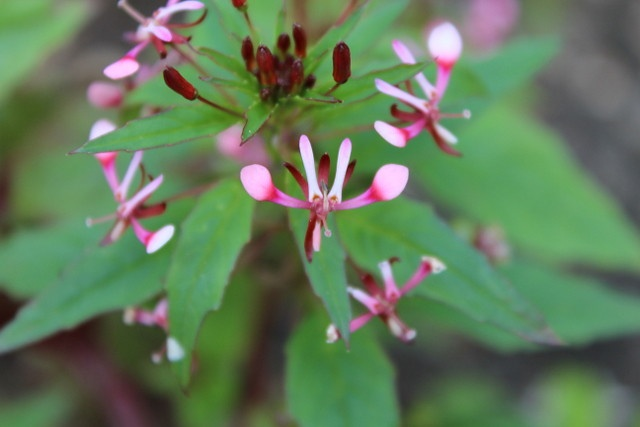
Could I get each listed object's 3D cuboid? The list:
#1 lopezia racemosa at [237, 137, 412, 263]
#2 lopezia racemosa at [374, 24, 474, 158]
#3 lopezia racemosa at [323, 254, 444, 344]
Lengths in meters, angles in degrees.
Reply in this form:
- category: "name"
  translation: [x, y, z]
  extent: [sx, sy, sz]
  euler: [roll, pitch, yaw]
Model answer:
- category: "lopezia racemosa"
  translation: [0.006, -0.009, 1.834]
  extent: [0.487, 0.465, 0.457]
  euler: [-6, 104, -18]
- category: "lopezia racemosa"
  translation: [0.345, -0.357, 2.006]
  extent: [0.274, 0.489, 0.451]
  euler: [-3, 65, 12]
- category: "lopezia racemosa"
  translation: [0.241, 0.322, 2.003]
  extent: [0.323, 0.482, 0.322]
  euler: [4, 67, 15]
